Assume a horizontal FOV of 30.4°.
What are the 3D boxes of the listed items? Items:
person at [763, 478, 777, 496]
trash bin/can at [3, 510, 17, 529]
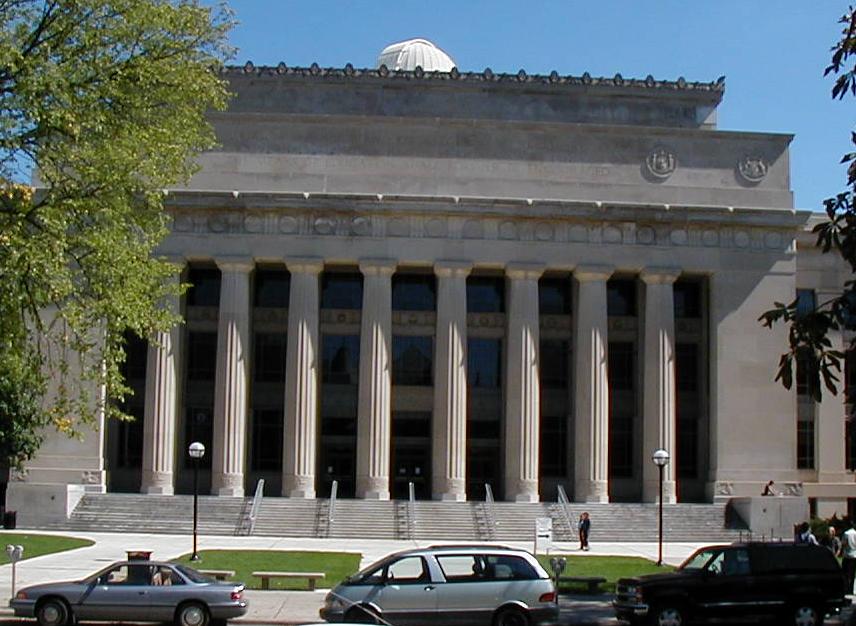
[{"bbox_3d":[16.435,8.369,75.309,0.712,0.790,0.765,10,-4,-9],"label":"person"},{"bbox_3d":[-18.772,9.289,70.416,0.705,0.719,0.698,-2,-6,21],"label":"trash bin/can"}]
